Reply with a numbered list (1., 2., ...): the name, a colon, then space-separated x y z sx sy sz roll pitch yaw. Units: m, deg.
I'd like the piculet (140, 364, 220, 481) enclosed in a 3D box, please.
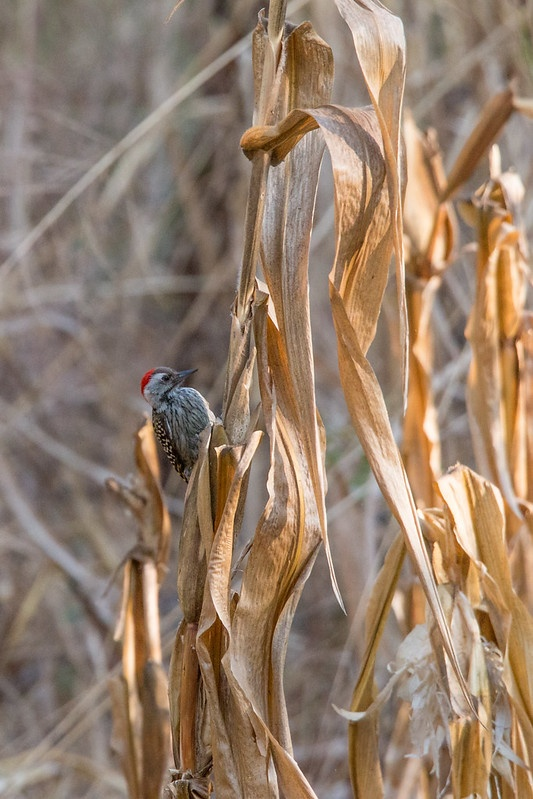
1. piculet: -0.263 0.056 4.318 0.226 0.169 0.405 0 -48 30
